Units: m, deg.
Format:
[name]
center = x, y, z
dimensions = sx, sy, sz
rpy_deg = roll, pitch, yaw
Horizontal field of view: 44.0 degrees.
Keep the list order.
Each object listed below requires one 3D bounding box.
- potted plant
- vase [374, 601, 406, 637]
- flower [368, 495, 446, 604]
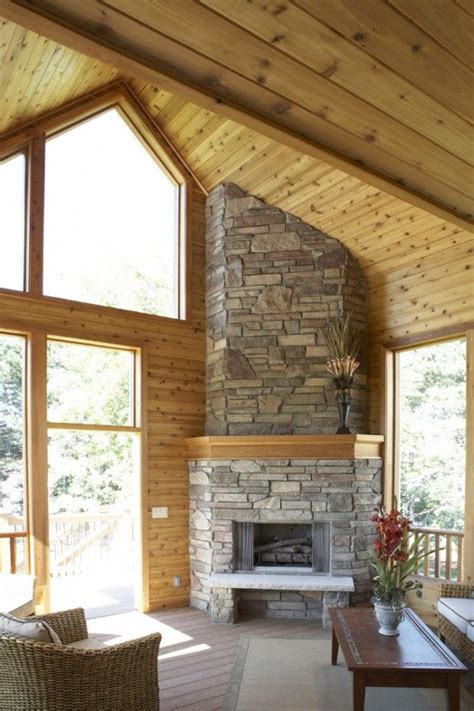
[potted plant]
center = 1.101, 0.174, 5.806
dimensions = 0.418, 1.187, 0.378
rpy_deg = 1, -9, -11
[vase]
center = 0.910, 1.562, 3.528
dimensions = 0.193, 0.162, 0.180
rpy_deg = -4, -18, 24
[flower]
center = 1.090, 1.271, 3.700
dimensions = 0.511, 0.487, 0.373
rpy_deg = 9, -8, -4
